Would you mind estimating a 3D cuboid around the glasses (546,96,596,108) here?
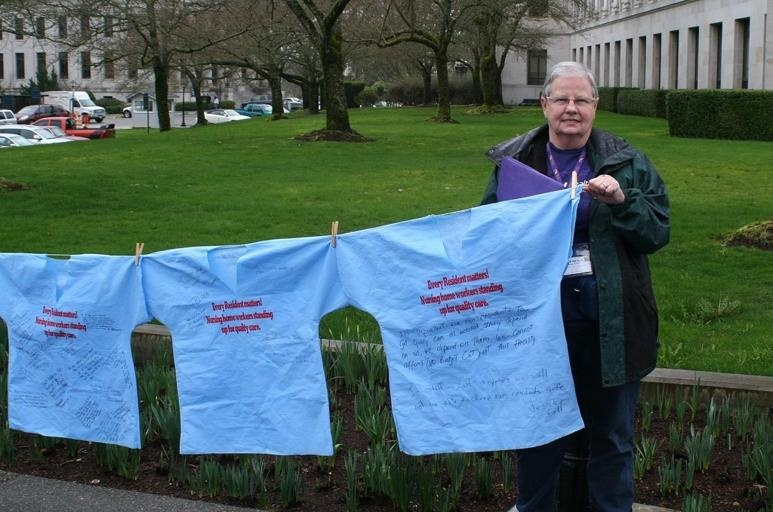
[{"bbox_3d":[1.475,-1.227,8.211,0.390,0.092,0.109,-3,7,8],"label":"glasses"}]
